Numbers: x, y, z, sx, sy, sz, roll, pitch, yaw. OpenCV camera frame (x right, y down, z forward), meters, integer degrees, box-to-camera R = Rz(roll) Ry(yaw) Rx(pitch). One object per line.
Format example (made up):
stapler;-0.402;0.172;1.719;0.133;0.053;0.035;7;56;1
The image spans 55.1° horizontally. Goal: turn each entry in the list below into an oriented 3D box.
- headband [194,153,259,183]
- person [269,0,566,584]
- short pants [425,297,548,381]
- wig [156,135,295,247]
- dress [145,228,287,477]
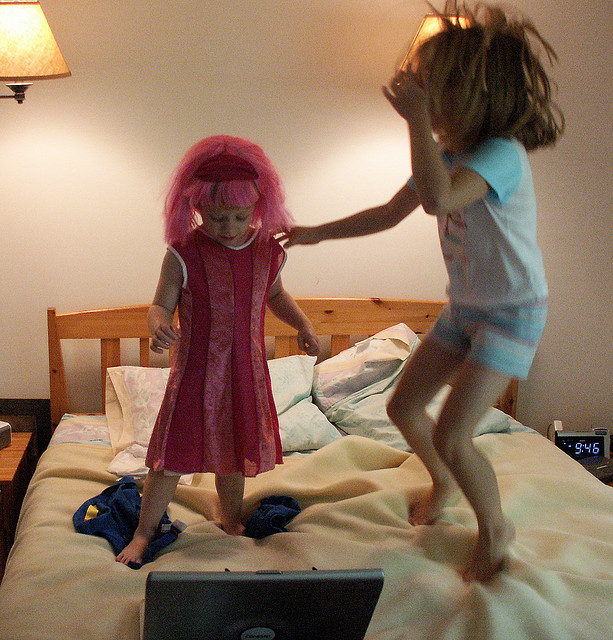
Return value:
headband;-0.164;-0.316;1.221;0.123;0.065;0.051;-2;7;-6
person;0.310;-0.054;1.181;0.351;1.133;0.449;2;8;25
short pants;0.390;0.053;1.214;0.260;0.147;0.172;6;52;38
wig;-0.146;-0.321;1.343;0.316;0.251;0.311;2;33;6
dress;-0.198;0.081;1.324;0.335;0.572;0.148;-3;7;-12
